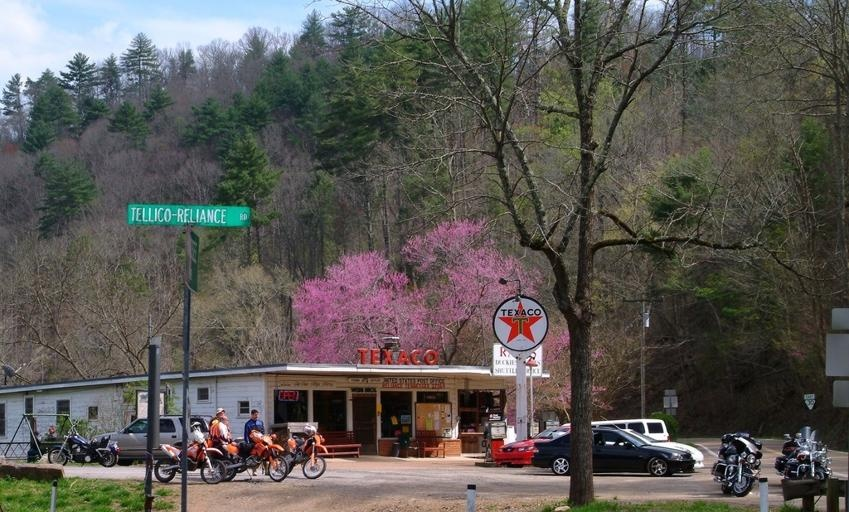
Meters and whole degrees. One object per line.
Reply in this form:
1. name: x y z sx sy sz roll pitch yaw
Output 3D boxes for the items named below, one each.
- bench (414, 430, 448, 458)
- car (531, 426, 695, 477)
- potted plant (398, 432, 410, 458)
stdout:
1. bench: 0.433 12.796 102.096 2.017 1.717 1.052 0 -9 -2
2. car: 11.187 12.326 92.192 8.104 2.752 3.967 -3 -6 5
3. potted plant: -1.285 12.792 101.847 0.518 1.629 0.958 -5 -10 28
